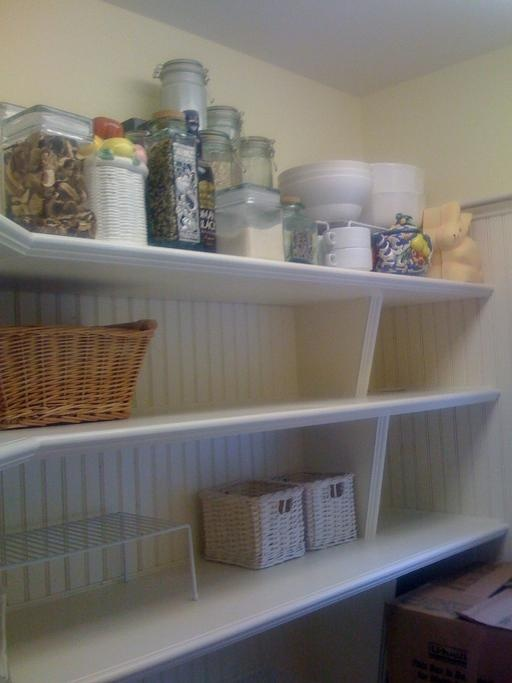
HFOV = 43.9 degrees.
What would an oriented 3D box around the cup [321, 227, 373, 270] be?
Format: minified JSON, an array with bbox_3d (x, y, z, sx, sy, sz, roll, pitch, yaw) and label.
[{"bbox_3d":[0.186,-0.197,1.354,0.115,0.075,0.081,0,1,-26],"label":"cup"}]

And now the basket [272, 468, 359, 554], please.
[{"bbox_3d":[0.127,0.385,1.473,0.164,0.152,0.127,5,-3,-37],"label":"basket"}]

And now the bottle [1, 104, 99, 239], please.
[{"bbox_3d":[-0.277,-0.222,0.841,0.117,0.167,0.085,-2,9,-12],"label":"bottle"}]

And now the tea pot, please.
[{"bbox_3d":[0.336,-0.213,1.467,0.146,0.128,0.143,3,1,0],"label":"tea pot"}]

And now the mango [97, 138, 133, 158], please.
[{"bbox_3d":[-0.200,-0.275,0.901,0.027,0.029,0.059,7,11,40],"label":"mango"}]

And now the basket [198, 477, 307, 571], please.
[{"bbox_3d":[-0.001,0.376,1.351,0.190,0.132,0.185,4,-10,-38],"label":"basket"}]

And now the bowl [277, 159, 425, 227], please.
[{"bbox_3d":[0.249,-0.341,1.485,0.289,0.097,0.212,1,-2,-33],"label":"bowl"}]
